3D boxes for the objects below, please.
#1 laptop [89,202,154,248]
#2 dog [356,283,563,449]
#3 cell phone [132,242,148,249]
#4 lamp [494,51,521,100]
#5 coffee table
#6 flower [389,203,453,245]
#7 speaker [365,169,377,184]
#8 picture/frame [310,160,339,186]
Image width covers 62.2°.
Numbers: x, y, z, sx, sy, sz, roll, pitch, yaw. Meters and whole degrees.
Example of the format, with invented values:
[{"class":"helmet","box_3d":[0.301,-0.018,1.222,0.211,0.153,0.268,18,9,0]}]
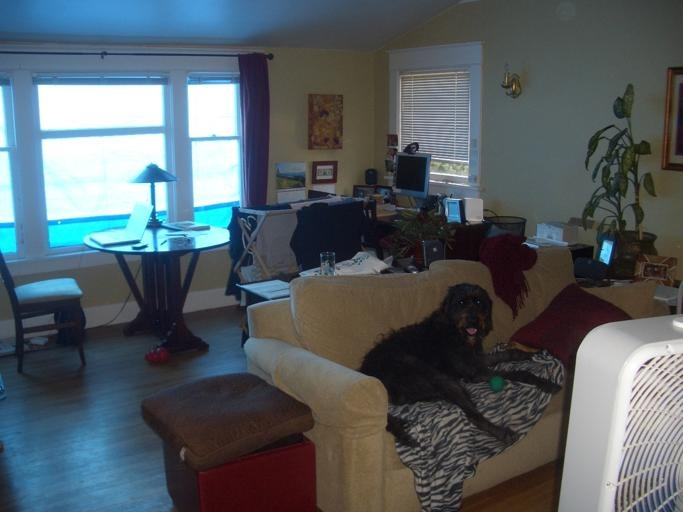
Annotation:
[{"class":"laptop","box_3d":[-1.951,-0.245,5.189,0.499,0.490,0.313,15,-4,45]},{"class":"dog","box_3d":[0.634,0.509,3.372,1.103,0.650,0.725,-15,2,43]},{"class":"cell phone","box_3d":[-1.732,-0.089,4.886,0.075,0.022,0.072,9,15,26]},{"class":"lamp","box_3d":[1.664,-1.752,5.652,0.130,0.345,0.251,-14,19,-39]},{"class":"coffee table","box_3d":[-1.697,0.364,5.291,1.050,0.898,1.108,-11,12,-41]},{"class":"flower","box_3d":[0.640,-0.230,4.419,0.324,0.259,0.336,4,14,10]},{"class":"speaker","box_3d":[0.377,-1.008,7.130,0.172,0.189,0.270,-1,15,2]},{"class":"picture/frame","box_3d":[-0.215,-1.014,6.812,0.287,0.227,0.046,-10,16,-39]}]
